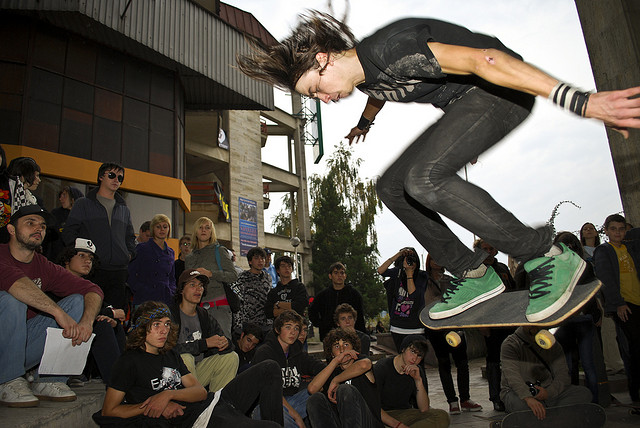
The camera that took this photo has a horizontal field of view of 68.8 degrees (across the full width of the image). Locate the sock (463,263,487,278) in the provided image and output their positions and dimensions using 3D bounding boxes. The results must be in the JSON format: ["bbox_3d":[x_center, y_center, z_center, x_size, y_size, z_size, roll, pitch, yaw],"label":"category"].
[{"bbox_3d":[1.583,0.589,4.794,0.231,0.098,0.087,-26,3,13],"label":"sock"}]

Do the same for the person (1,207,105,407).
[{"bbox_3d":[-3.253,1.060,5.573,1.134,2.283,0.797,8,-21,-26],"label":"person"}]

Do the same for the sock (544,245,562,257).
[{"bbox_3d":[2.204,0.354,4.421,0.088,0.167,0.121,10,-8,-17],"label":"sock"}]

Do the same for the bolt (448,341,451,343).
[{"bbox_3d":[1.286,1.273,4.650,0.024,0.024,0.013,7,-24,-20],"label":"bolt"}]
